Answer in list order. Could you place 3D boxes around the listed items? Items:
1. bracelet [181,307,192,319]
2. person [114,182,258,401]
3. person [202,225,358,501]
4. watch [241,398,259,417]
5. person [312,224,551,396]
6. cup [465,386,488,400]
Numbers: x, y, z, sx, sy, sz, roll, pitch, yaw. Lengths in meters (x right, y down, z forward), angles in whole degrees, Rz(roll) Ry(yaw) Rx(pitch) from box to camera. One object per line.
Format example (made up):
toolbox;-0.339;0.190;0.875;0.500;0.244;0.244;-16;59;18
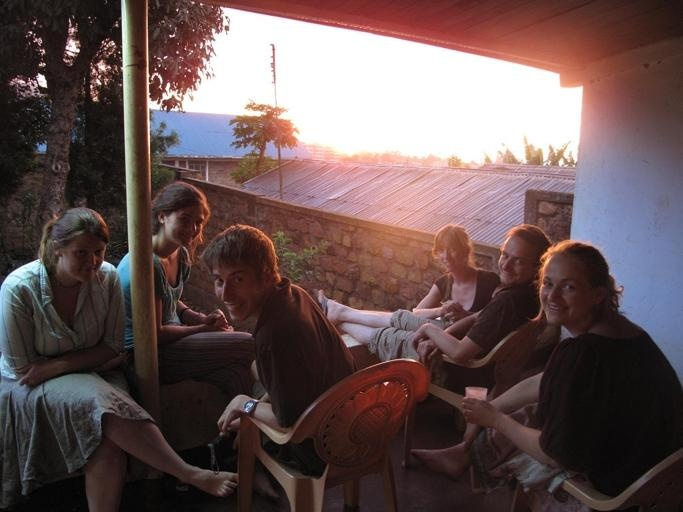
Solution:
bracelet;-1.153;0.420;3.515;0.056;0.079;0.030;-2;-14;14
person;-1.000;0.319;3.268;0.991;1.525;0.654;1;9;9
person;-0.268;0.448;2.270;0.675;1.140;0.464;10;12;37
watch;-0.443;0.732;2.314;0.055;0.082;0.086;18;41;17
person;0.534;0.316;3.541;1.827;1.141;0.836;9;15;37
cup;0.696;0.690;2.469;0.101;0.085;0.093;1;0;0
